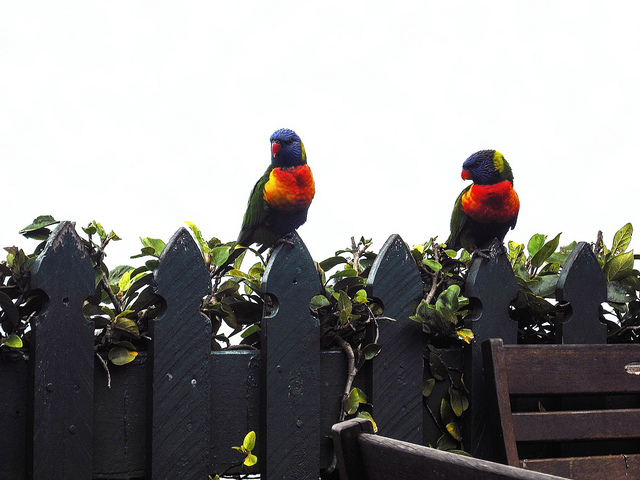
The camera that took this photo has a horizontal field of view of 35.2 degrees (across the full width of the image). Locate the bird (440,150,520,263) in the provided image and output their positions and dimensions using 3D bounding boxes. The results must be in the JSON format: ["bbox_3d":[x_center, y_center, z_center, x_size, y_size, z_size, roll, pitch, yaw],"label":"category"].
[{"bbox_3d":[0.771,-0.185,4.830,0.295,0.642,0.427,-8,21,-14],"label":"bird"}]

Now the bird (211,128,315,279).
[{"bbox_3d":[-0.193,-0.067,4.094,0.410,0.689,0.292,-15,-26,28],"label":"bird"}]
